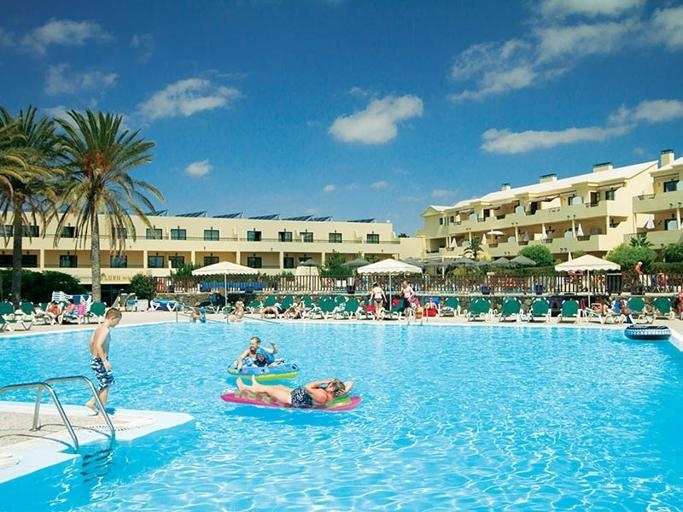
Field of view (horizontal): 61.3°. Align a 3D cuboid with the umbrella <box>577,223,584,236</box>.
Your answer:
[{"bbox_3d":[21.329,-2.363,51.419,0.500,1.432,2.184,-6,-6,23],"label":"umbrella"}]

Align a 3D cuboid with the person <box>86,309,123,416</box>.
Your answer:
[{"bbox_3d":[-4.498,1.975,10.933,0.593,1.983,0.657,2,-1,-42],"label":"person"}]

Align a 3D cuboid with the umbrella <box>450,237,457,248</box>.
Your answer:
[{"bbox_3d":[12.739,-1.550,64.843,0.924,1.672,0.905,3,-10,6],"label":"umbrella"}]

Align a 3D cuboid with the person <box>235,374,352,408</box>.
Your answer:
[{"bbox_3d":[-0.983,2.789,11.751,2.054,0.555,0.442,-5,-6,11],"label":"person"}]

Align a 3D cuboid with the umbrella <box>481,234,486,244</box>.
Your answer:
[{"bbox_3d":[15.140,-1.921,61.190,0.560,1.031,0.761,-6,-6,20],"label":"umbrella"}]
